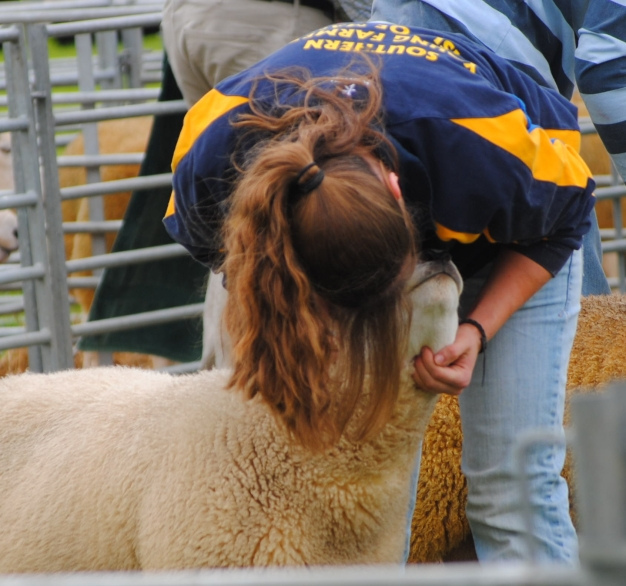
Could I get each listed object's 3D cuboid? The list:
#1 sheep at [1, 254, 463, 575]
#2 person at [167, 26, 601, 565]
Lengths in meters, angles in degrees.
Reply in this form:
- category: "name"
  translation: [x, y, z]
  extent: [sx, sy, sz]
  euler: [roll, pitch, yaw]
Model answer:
- category: "sheep"
  translation: [-0.178, 0.315, 4.018]
  extent: [1.302, 1.389, 0.612]
  euler: [-1, 2, 11]
- category: "person"
  translation: [0.229, 0.033, 3.691]
  extent: [1.026, 1.417, 0.546]
  euler: [-6, 11, -28]
